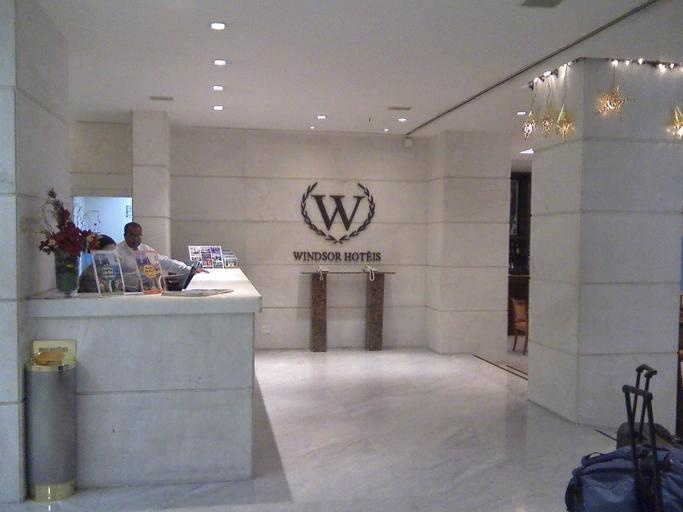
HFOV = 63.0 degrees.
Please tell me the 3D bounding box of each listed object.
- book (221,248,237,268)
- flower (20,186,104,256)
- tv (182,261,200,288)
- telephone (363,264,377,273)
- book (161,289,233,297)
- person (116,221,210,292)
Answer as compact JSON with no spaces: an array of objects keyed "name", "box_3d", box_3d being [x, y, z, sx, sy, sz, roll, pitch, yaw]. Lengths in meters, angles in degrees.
[{"name":"book","box_3d":[-1.562,-0.032,7.785,0.194,0.104,0.394,0,13,-17]},{"name":"flower","box_3d":[-2.124,-0.253,4.256,0.545,0.502,0.386,5,6,41]},{"name":"tv","box_3d":[-1.437,0.192,5.338,0.033,0.320,0.176,28,13,3]},{"name":"telephone","box_3d":[0.462,0.229,8.887,0.215,0.157,0.273,2,4,2]},{"name":"book","box_3d":[-1.134,0.293,4.453,0.570,0.034,0.428,0,5,-24]},{"name":"person","box_3d":[-1.960,-0.005,6.072,0.854,0.589,0.742,2,3,20]}]
